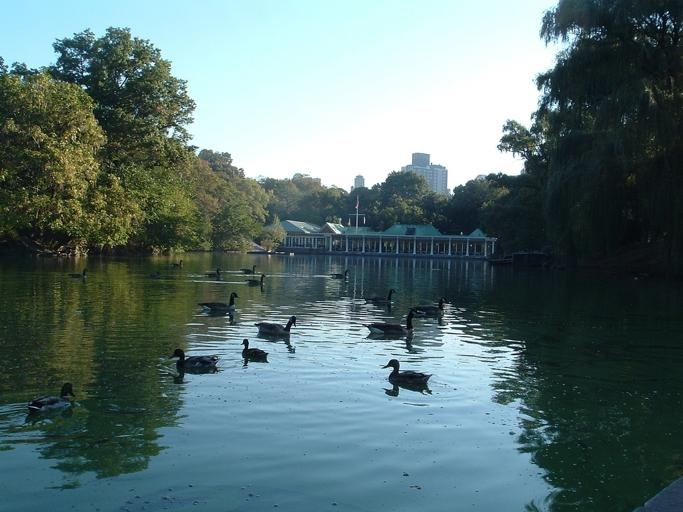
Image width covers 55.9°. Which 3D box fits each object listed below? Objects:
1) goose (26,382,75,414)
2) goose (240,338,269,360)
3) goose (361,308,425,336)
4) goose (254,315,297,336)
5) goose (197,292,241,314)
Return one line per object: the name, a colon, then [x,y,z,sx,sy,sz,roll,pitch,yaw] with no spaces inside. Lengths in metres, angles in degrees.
goose: [-6.221,3.105,14.028,0.513,0.416,1.086,6,9,25]
goose: [-2.440,2.705,18.398,0.795,0.564,0.405,3,4,24]
goose: [1.861,2.345,22.885,2.092,1.263,0.747,0,6,2]
goose: [-2.269,2.399,21.707,1.276,0.590,0.595,5,9,20]
goose: [-5.136,2.016,27.118,1.621,1.077,0.825,1,8,-7]
